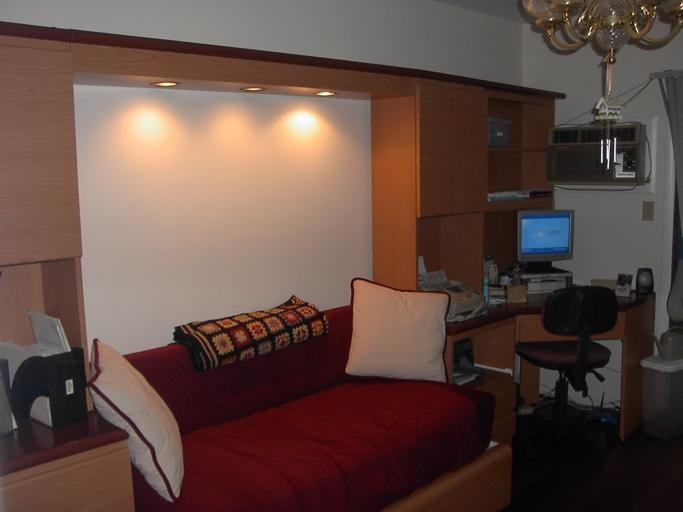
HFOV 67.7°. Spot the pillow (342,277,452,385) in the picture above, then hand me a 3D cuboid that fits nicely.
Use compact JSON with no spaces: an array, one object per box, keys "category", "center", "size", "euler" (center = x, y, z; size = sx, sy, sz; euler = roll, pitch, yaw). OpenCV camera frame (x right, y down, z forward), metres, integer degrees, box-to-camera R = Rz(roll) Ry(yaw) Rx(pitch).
[{"category":"pillow","center":[0.353,0.518,3.294],"size":[0.585,0.602,0.216],"euler":[7,-13,3]}]

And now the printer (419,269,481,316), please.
[{"category":"printer","center":[0.790,0.283,3.766],"size":[0.354,0.170,0.463],"euler":[-8,21,-33]}]

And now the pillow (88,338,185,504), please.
[{"category":"pillow","center":[-0.912,0.757,2.262],"size":[0.272,0.462,0.493],"euler":[-19,35,-14]}]

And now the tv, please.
[{"category":"tv","center":[1.664,-0.151,4.285],"size":[0.453,0.506,0.274],"euler":[-2,6,0]}]
